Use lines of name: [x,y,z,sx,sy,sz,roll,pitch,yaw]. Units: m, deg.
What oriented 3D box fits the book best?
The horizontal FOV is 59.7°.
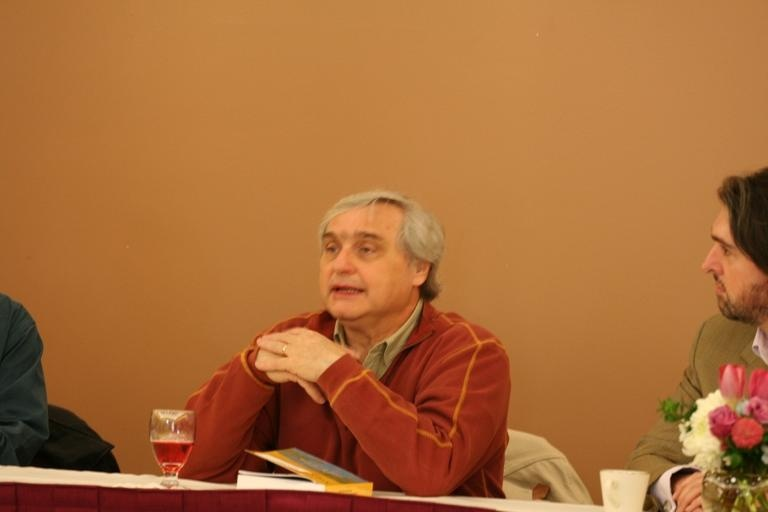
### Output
book: [-0.179,0.593,1.852,0.306,0.167,0.263,-3,-26,8]
